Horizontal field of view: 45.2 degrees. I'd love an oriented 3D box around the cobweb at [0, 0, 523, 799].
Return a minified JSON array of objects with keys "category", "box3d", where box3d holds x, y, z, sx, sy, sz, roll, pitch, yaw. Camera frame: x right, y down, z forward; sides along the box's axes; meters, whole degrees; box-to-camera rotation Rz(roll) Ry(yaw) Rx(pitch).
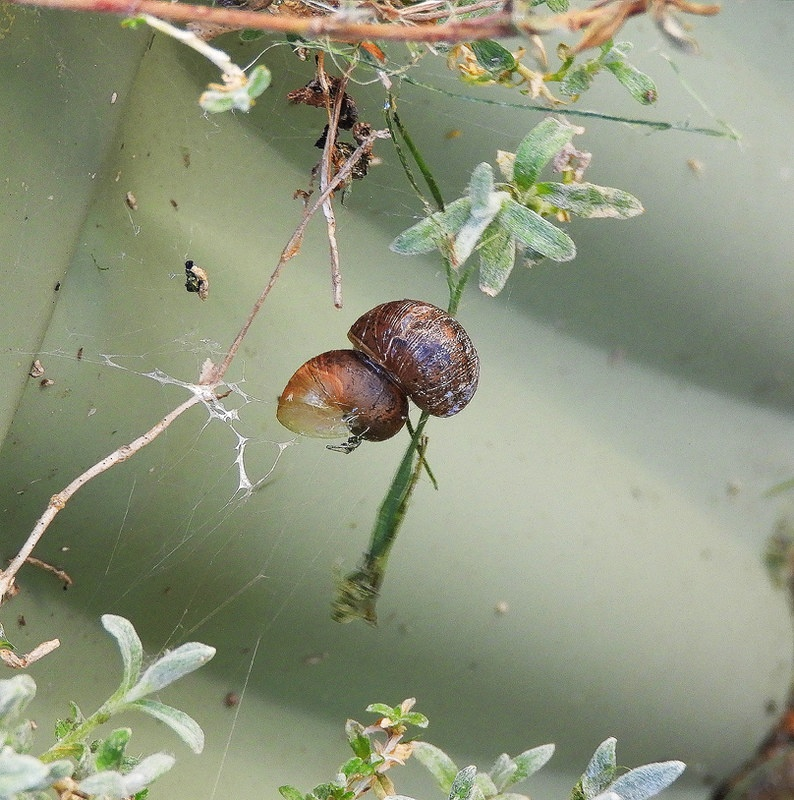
[{"category":"cobweb","box3d":[-0.178,0.048,1.097,0.625,0.848,0.250,3,14,-34]}]
